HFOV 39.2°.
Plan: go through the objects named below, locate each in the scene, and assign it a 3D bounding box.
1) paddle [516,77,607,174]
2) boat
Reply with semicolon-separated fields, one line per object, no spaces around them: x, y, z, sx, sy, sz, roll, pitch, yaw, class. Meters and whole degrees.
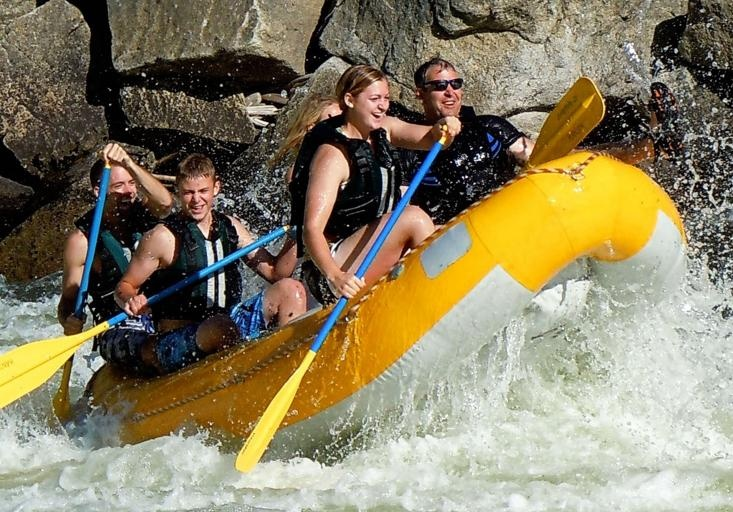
1.206;-0.774;6.465;0.107;0.780;0.267;-4;53;-39;paddle
0.251;0.455;6.684;3.154;1.655;0.753;-36;79;6;boat
